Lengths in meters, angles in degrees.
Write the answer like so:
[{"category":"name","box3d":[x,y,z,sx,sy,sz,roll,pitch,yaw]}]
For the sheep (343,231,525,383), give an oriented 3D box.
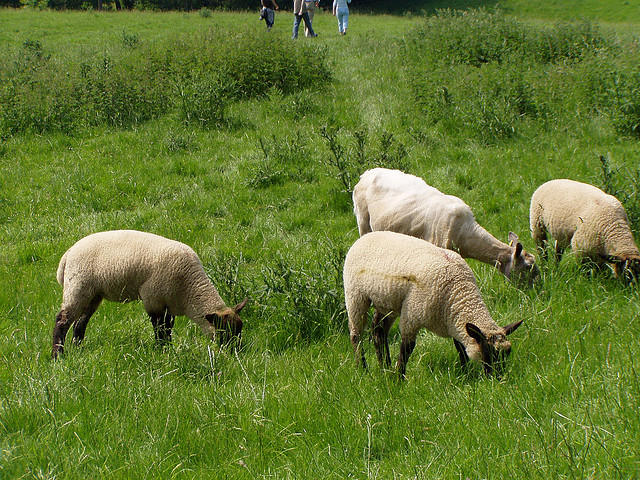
[{"category":"sheep","box3d":[1.278,0.776,9.994,2.751,2.424,1.197,13,16,38]}]
